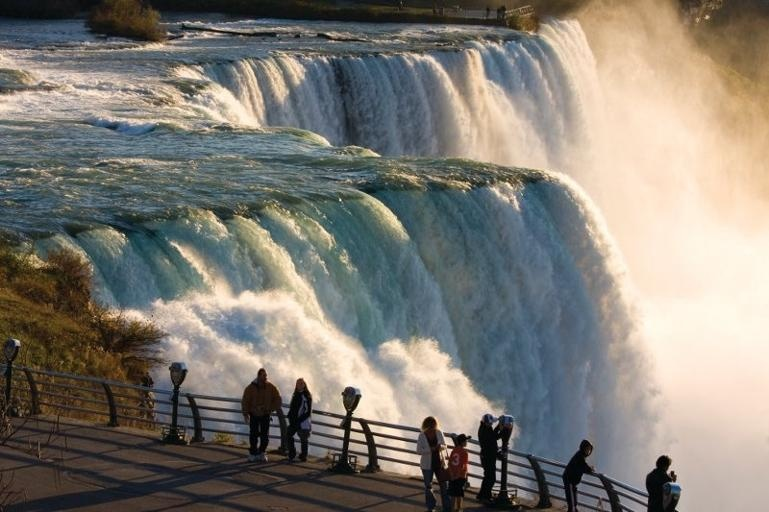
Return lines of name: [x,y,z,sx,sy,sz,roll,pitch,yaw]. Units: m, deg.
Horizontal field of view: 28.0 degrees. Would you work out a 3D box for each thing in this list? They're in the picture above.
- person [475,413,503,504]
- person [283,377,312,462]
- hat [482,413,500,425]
person: [4.716,9.151,70.490,0.993,4.008,0.506,5,5,1]
person: [-3.945,7.469,71.476,1.143,3.906,0.644,5,5,-4]
hat: [4.926,7.408,70.589,0.926,0.538,0.517,1,7,-34]
